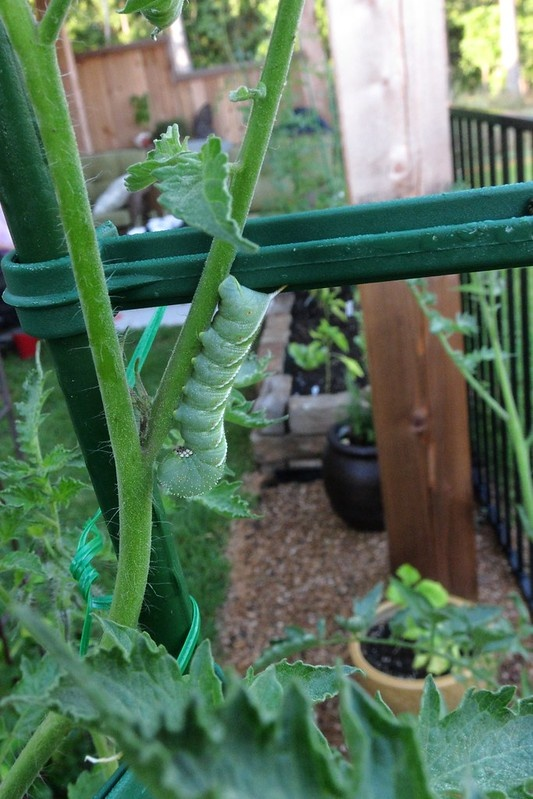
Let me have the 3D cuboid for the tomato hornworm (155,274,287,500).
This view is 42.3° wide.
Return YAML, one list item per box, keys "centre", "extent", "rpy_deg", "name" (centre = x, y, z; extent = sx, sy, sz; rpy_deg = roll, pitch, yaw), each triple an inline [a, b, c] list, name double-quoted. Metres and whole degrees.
- centre: [-0.024, 0.005, 0.467]
  extent: [0.054, 0.169, 0.046]
  rpy_deg: [17, 8, 3]
  name: "tomato hornworm"
